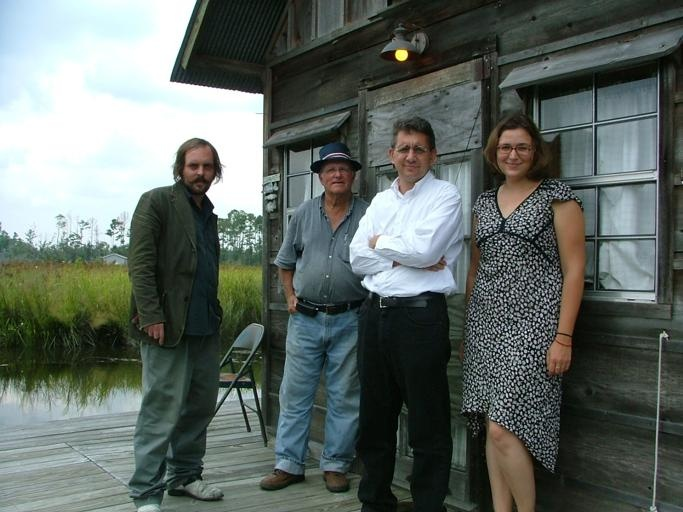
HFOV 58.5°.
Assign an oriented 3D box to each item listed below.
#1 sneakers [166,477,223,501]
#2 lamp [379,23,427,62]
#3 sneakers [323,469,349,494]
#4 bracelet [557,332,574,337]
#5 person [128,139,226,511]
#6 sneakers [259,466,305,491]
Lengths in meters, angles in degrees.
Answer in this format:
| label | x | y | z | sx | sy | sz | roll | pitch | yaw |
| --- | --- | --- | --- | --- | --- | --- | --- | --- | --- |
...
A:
| label | x | y | z | sx | sy | sz | roll | pitch | yaw |
| --- | --- | --- | --- | --- | --- | --- | --- | --- | --- |
| sneakers | -1.127 | 1.753 | 4.650 | 0.400 | 0.190 | 0.172 | -3 | -3 | 14 |
| lamp | 0.504 | -1.738 | 4.914 | 0.259 | 0.244 | 0.367 | -1 | 0 | 42 |
| sneakers | -0.075 | 1.763 | 4.818 | 0.257 | 0.129 | 0.156 | -2 | 0 | 30 |
| bracelet | 1.331 | 0.462 | 3.618 | 0.110 | 0.033 | 0.060 | -1 | -1 | -24 |
| person | -1.217 | 0.472 | 4.483 | 0.744 | 2.585 | 0.389 | -1 | 0 | -31 |
| sneakers | -0.494 | 1.773 | 4.887 | 0.342 | 0.154 | 0.128 | 9 | -14 | -37 |
